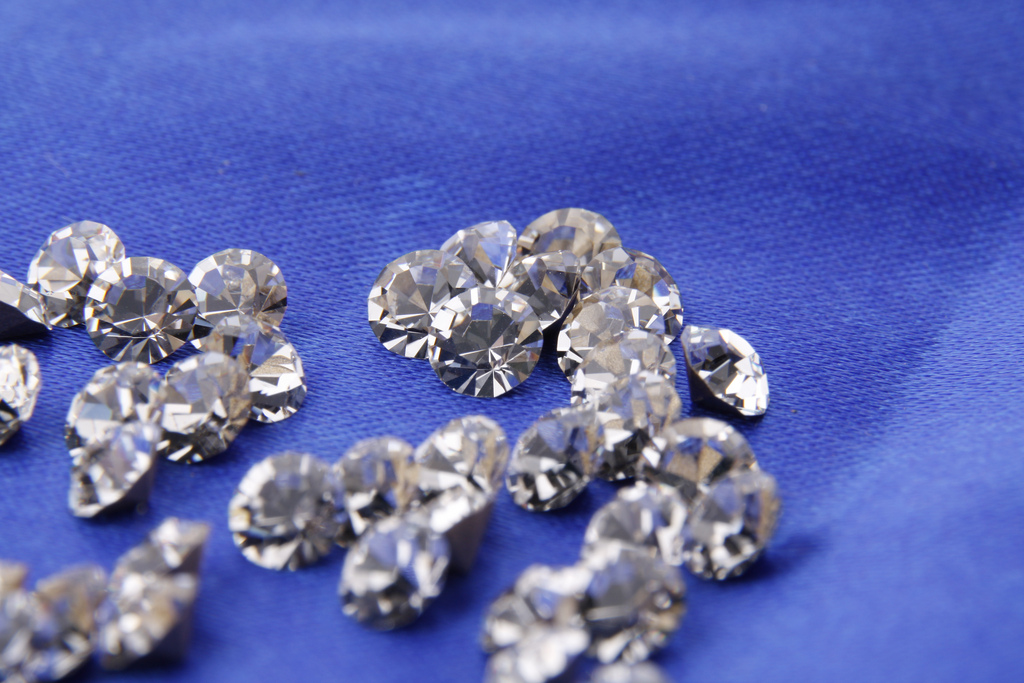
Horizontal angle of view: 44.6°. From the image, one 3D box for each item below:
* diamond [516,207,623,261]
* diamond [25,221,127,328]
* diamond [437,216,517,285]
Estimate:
[{"bbox_3d":[0.050,-0.092,1.095,0.057,0.014,0.057,0,57,6],"label":"diamond"},{"bbox_3d":[-0.377,-0.061,1.063,0.084,0.028,0.088,23,82,29],"label":"diamond"},{"bbox_3d":[-0.028,-0.078,1.088,0.056,0.031,0.058,-37,49,-20],"label":"diamond"}]
